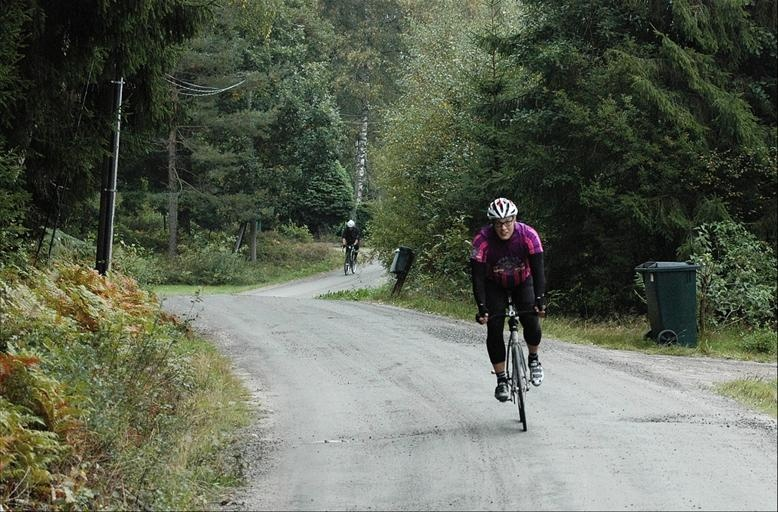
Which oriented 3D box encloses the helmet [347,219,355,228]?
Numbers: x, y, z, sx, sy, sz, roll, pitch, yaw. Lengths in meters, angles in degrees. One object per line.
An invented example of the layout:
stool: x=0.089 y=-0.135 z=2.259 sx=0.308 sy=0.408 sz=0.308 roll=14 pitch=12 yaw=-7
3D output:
helmet: x=-1.706 y=-1.468 z=37.591 sx=0.367 sy=0.218 sz=0.564 roll=0 pitch=4 yaw=0

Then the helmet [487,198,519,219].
helmet: x=1.713 y=-0.705 z=12.533 sx=0.389 sy=0.314 sz=0.278 roll=1 pitch=8 yaw=3

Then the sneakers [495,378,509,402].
sneakers: x=1.718 y=2.003 z=12.455 sx=0.206 sy=0.299 sz=0.261 roll=2 pitch=8 yaw=9
